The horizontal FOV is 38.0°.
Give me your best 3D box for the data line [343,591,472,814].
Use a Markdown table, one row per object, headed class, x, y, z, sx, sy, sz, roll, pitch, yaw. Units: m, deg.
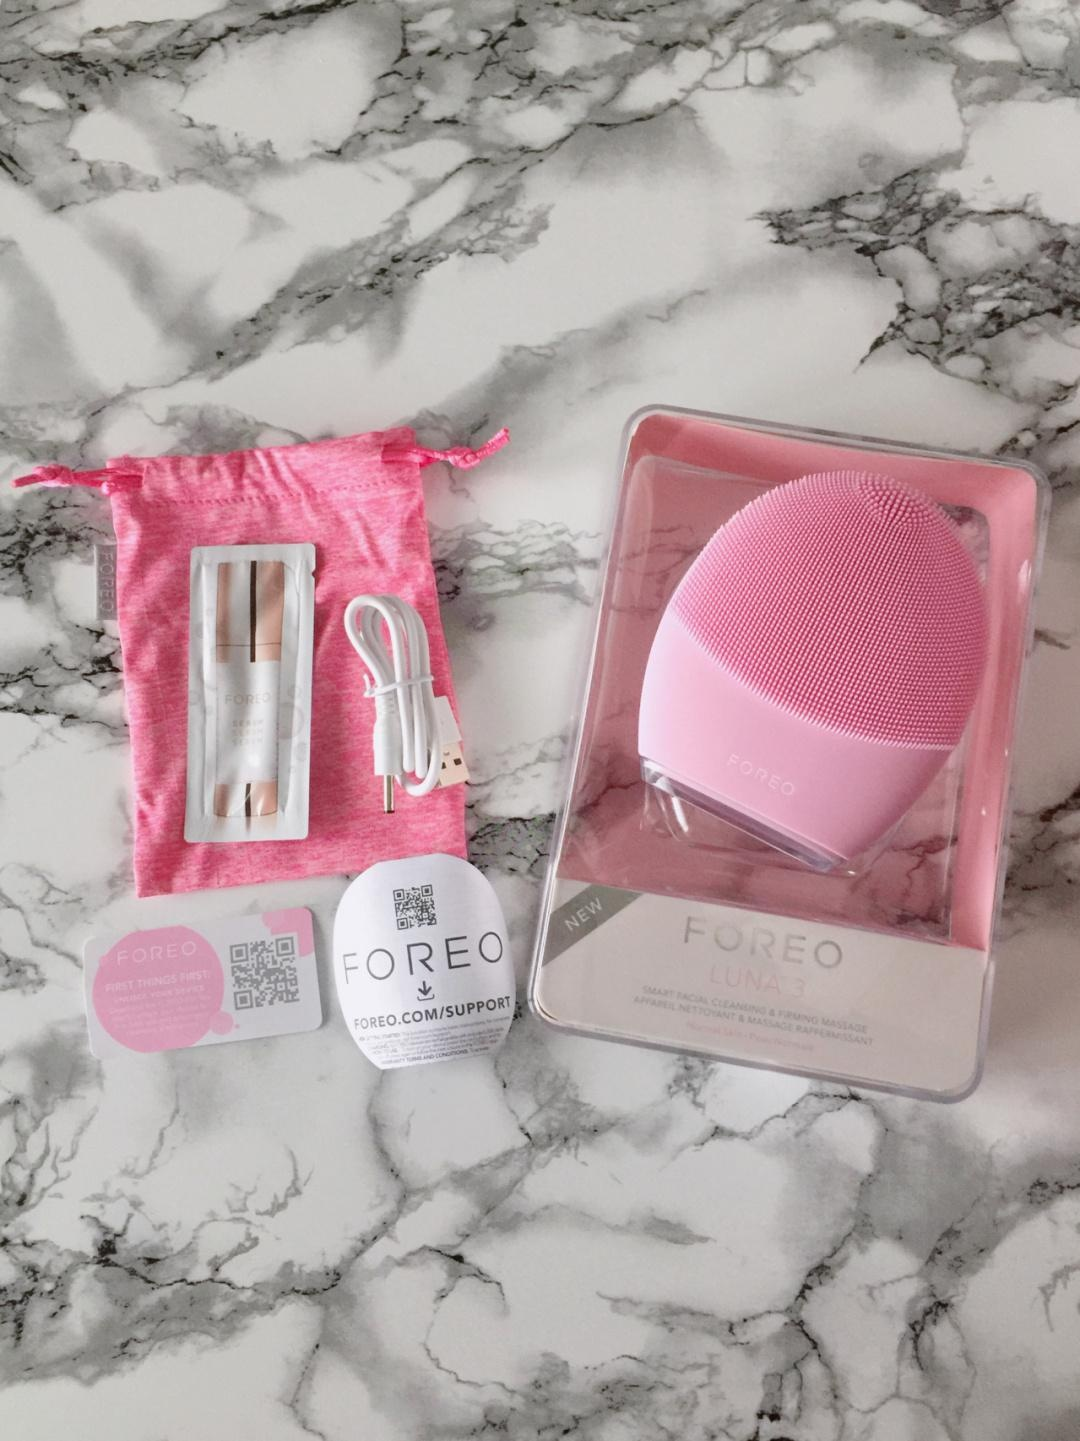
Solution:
| class | x | y | z | sx | sy | sz | roll | pitch | yaw |
| --- | --- | --- | --- | --- | --- | --- | --- | --- | --- |
| data line | -0.095 | -0.012 | 1.043 | 0.095 | 0.137 | 0.032 | -9 | 1 | -1 |
